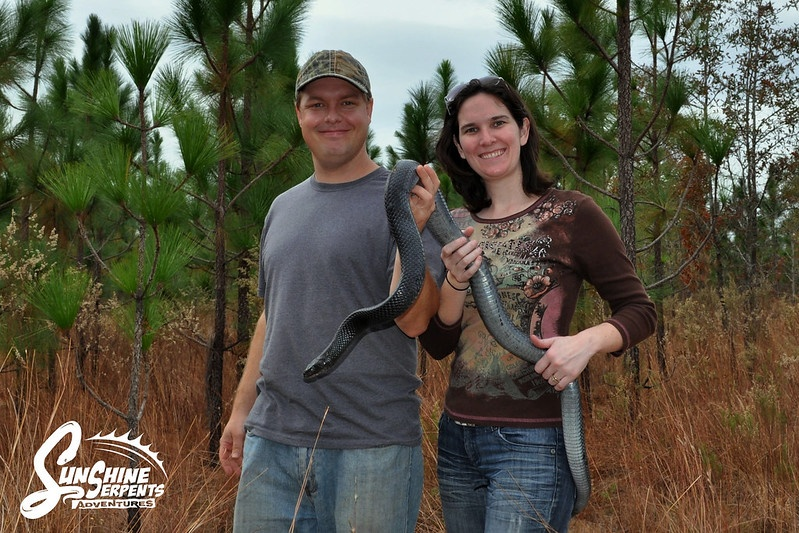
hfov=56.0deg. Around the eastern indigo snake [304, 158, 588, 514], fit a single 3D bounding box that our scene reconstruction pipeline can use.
[{"bbox_3d":[0.482,0.727,7.367,2.693,3.525,0.471,0,-6,-10],"label":"eastern indigo snake"}]
